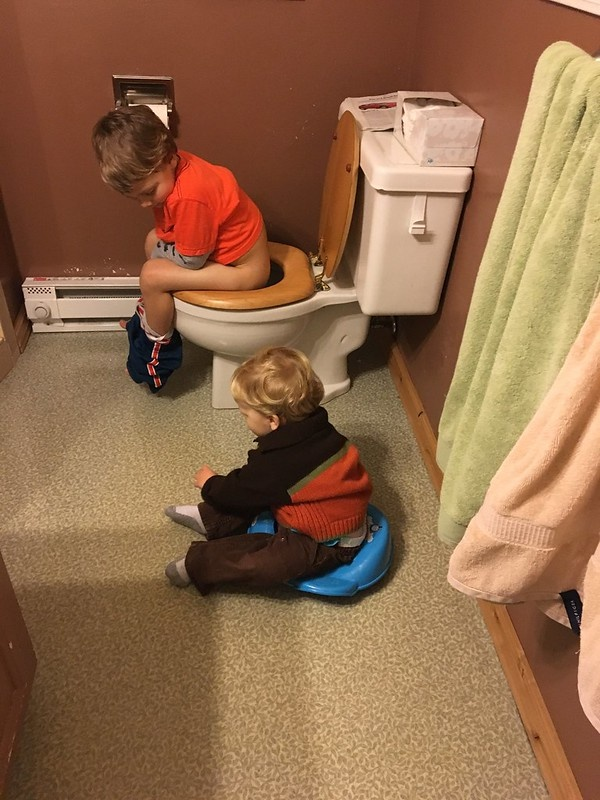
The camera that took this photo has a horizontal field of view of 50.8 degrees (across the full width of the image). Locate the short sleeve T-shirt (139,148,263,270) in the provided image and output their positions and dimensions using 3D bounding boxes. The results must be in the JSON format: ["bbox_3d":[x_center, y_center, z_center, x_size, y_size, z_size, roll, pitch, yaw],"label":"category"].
[{"bbox_3d":[-0.255,-0.510,1.572,0.275,0.291,0.286,-9,64,1],"label":"short sleeve T-shirt"}]

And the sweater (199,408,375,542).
[{"bbox_3d":[-0.032,0.145,1.282,0.350,0.251,0.265,2,12,7],"label":"sweater"}]

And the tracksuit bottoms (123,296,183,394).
[{"bbox_3d":[-0.396,-0.166,1.740,0.147,0.225,0.240,-2,41,-21],"label":"tracksuit bottoms"}]

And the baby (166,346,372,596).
[{"bbox_3d":[-0.081,0.131,1.255,0.434,0.419,0.275,-6,18,2],"label":"baby"}]

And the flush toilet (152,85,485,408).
[{"bbox_3d":[-0.012,-0.346,1.648,0.698,0.751,0.469,-2,38,-8],"label":"flush toilet"}]
